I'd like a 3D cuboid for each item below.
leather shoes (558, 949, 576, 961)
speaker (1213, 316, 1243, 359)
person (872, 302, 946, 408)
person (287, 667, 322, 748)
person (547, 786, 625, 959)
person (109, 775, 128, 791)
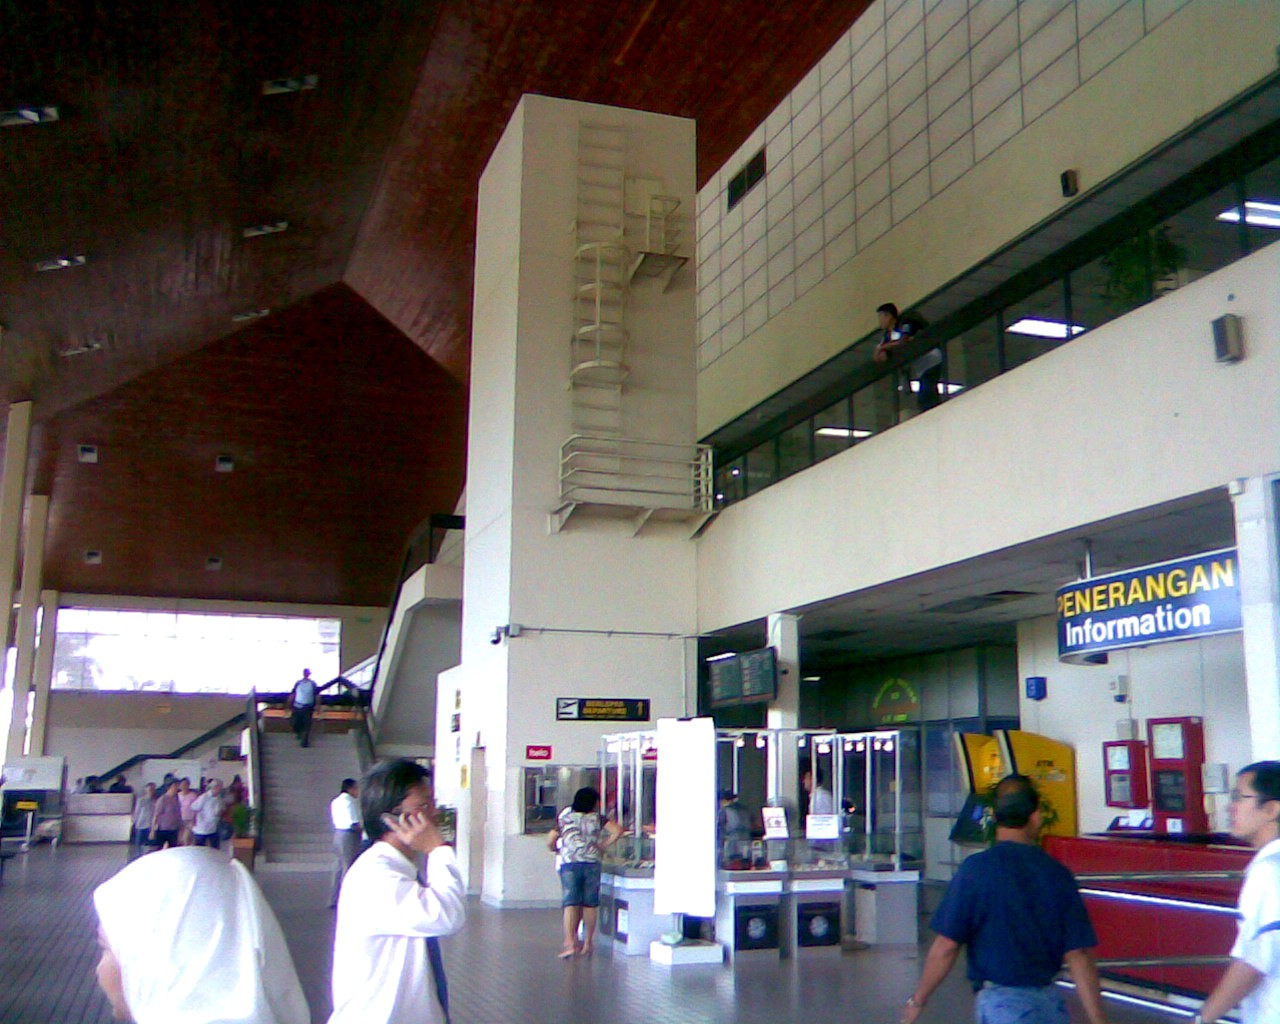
[{"bbox_3d":[-0.621,3.910,9.859,0.156,0.069,0.213,1,-14,-2],"label":"leather shoes"},{"bbox_3d":[3.983,-1.168,7.601,0.114,0.328,0.188,6,-14,-23],"label":"speaker"},{"bbox_3d":[2.718,-1.549,11.289,0.528,1.425,0.419,-12,-44,2],"label":"person"},{"bbox_3d":[-6.476,3.814,21.722,0.439,1.592,1.994,4,-14,-17],"label":"person"},{"bbox_3d":[-0.502,3.285,10.219,0.623,1.448,0.894,1,-13,-2],"label":"person"},{"bbox_3d":[-12.250,6.456,26.448,0.425,0.344,1.652,6,-15,-24],"label":"person"}]
